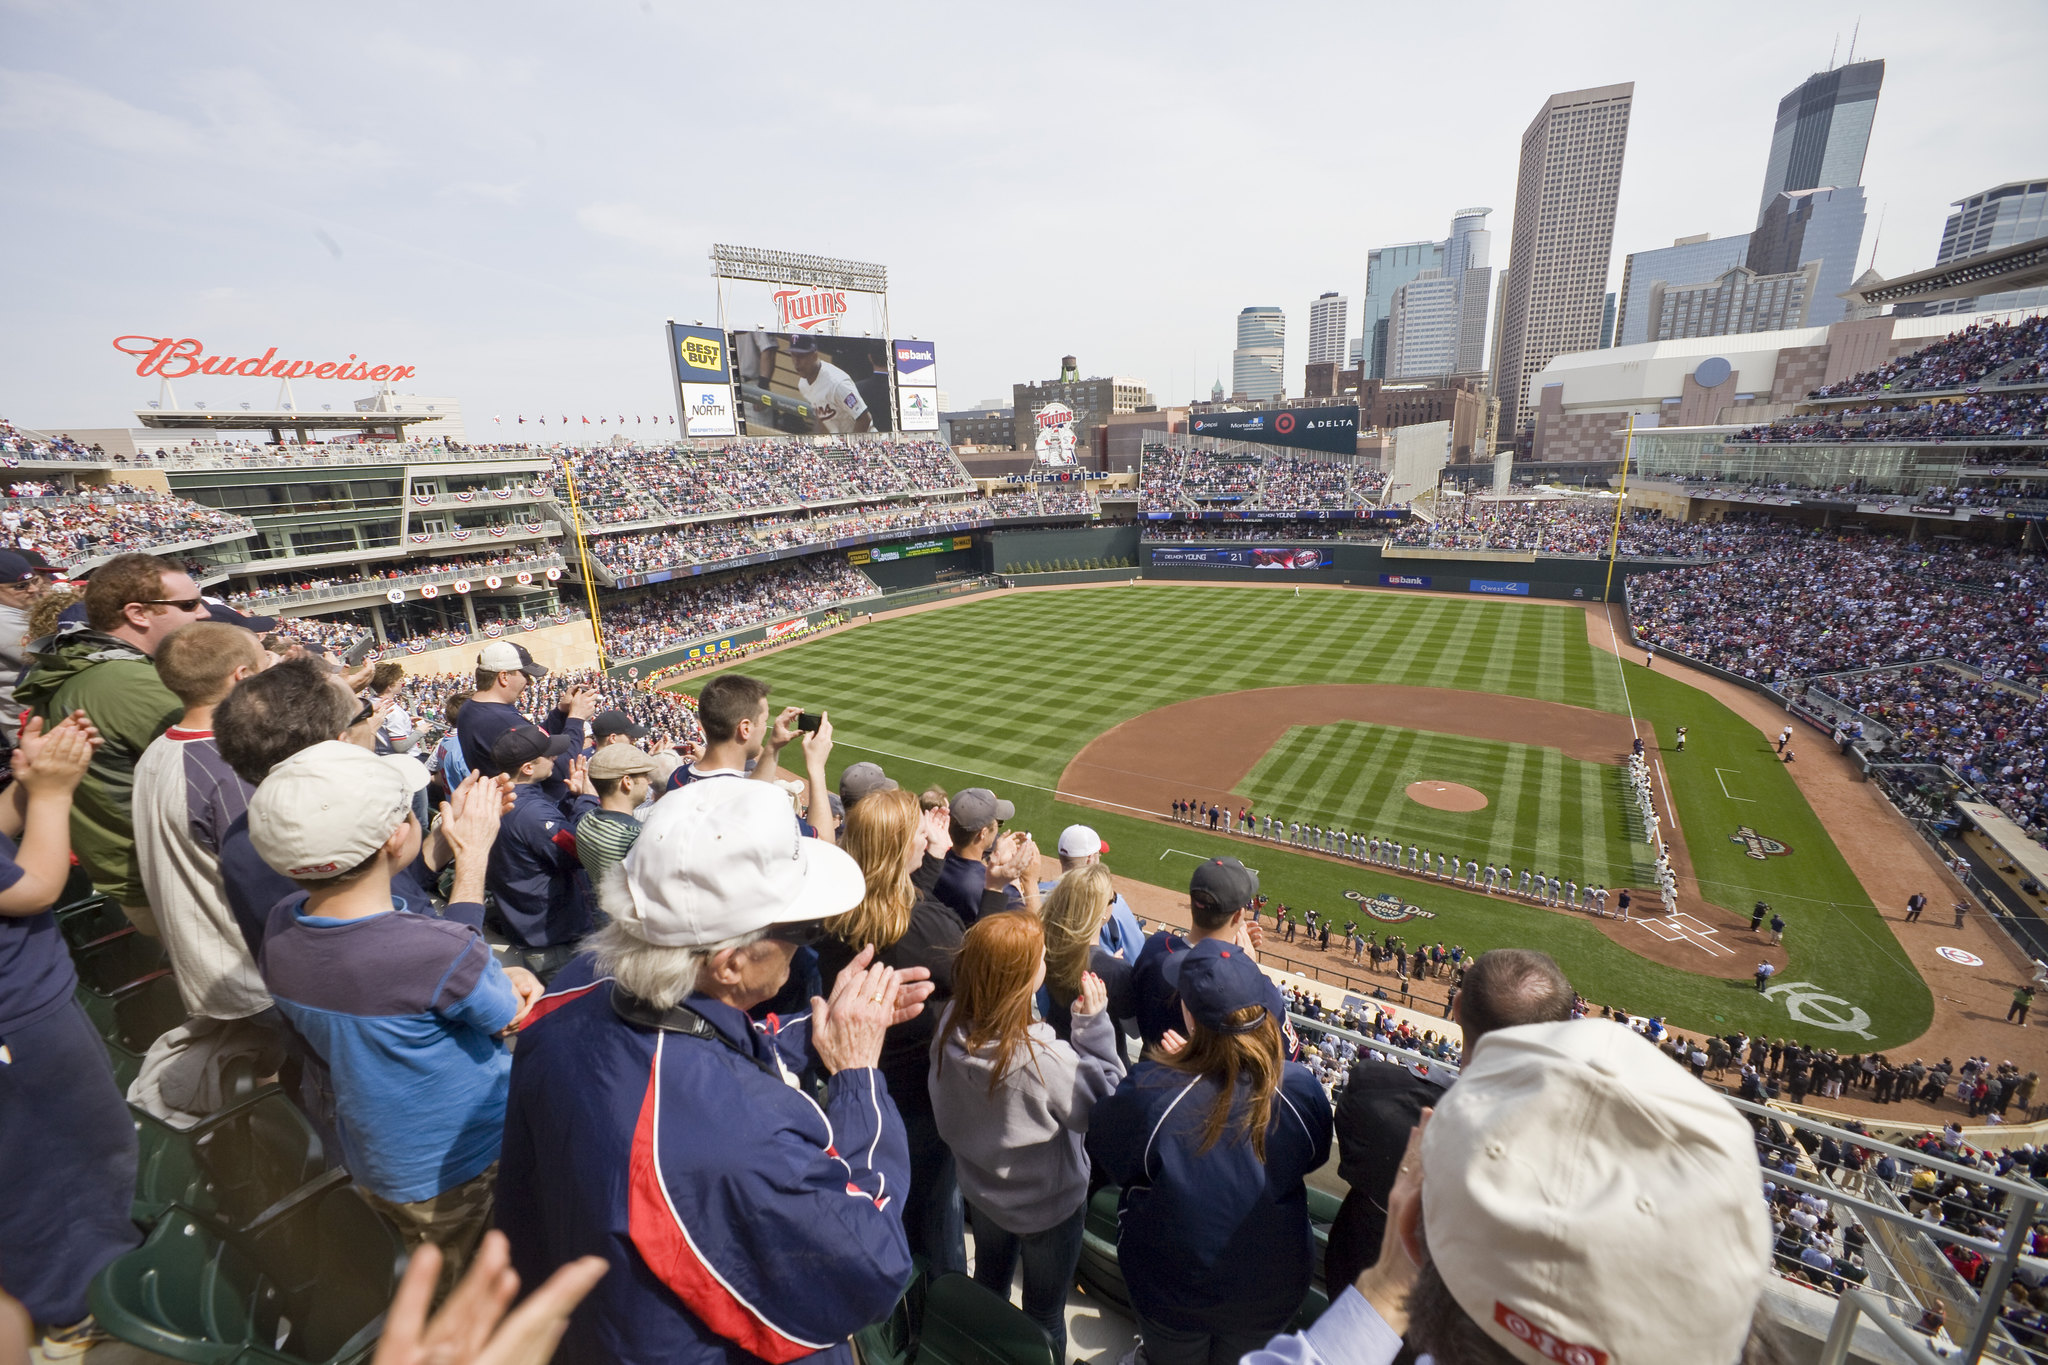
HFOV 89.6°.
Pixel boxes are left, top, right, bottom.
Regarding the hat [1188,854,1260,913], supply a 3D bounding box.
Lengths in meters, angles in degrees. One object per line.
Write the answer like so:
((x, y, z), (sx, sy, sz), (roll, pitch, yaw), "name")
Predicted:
((1.478, 1.398, 7.529), (0.366, 0.251, 0.509), (8, 23, 32), "hat")

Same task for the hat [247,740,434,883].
((-3.856, 0.673, 5.990), (0.720, 0.441, 0.888), (7, 32, -2), "hat")

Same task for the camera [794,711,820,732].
((-1.918, 0.331, 9.159), (0.308, 0.180, 0.153), (1, -4, -10), "camera")
